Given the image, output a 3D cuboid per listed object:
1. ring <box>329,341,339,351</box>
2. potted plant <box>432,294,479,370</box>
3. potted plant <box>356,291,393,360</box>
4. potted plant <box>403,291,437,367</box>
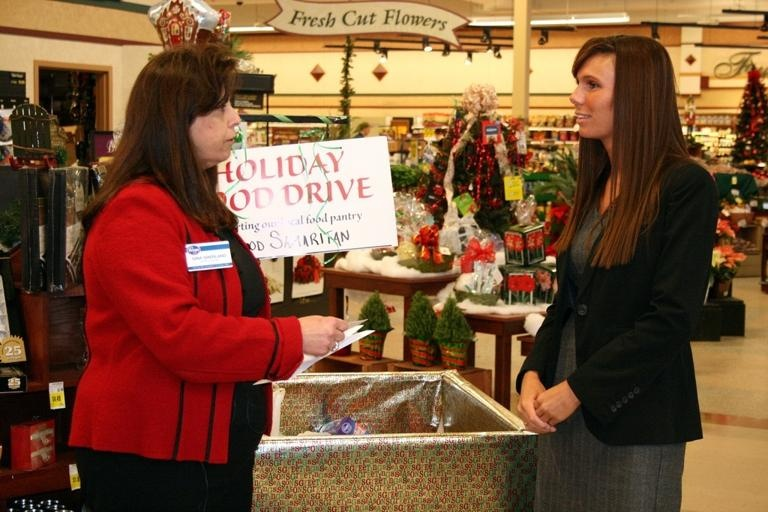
[{"bbox_3d":[-0.140,0.252,1.747,0.010,0.023,0.021,36,15,33],"label":"ring"},{"bbox_3d":[0.433,0.486,4.222,0.389,0.629,0.390,0,6,8],"label":"potted plant"},{"bbox_3d":[-0.079,0.486,4.355,0.253,0.473,0.257,15,-17,-40],"label":"potted plant"},{"bbox_3d":[0.234,0.484,4.183,0.221,0.475,0.180,2,10,11],"label":"potted plant"}]
